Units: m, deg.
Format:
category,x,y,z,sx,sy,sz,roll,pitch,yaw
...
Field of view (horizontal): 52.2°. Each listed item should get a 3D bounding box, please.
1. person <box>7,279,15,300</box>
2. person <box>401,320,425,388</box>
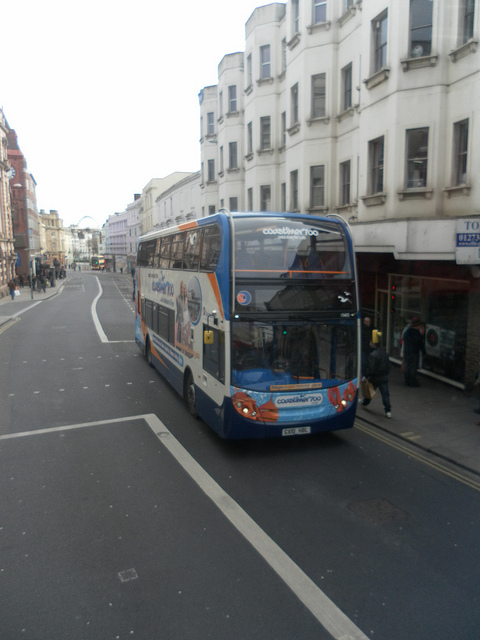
category,x,y,z,sx,sy,sz,roll,pitch,yaw
person,-18.856,-2.533,40.782,0.382,1.515,1.550,-2,5,-26
person,4.510,0.769,12.818,0.522,1.681,2.186,2,5,22
